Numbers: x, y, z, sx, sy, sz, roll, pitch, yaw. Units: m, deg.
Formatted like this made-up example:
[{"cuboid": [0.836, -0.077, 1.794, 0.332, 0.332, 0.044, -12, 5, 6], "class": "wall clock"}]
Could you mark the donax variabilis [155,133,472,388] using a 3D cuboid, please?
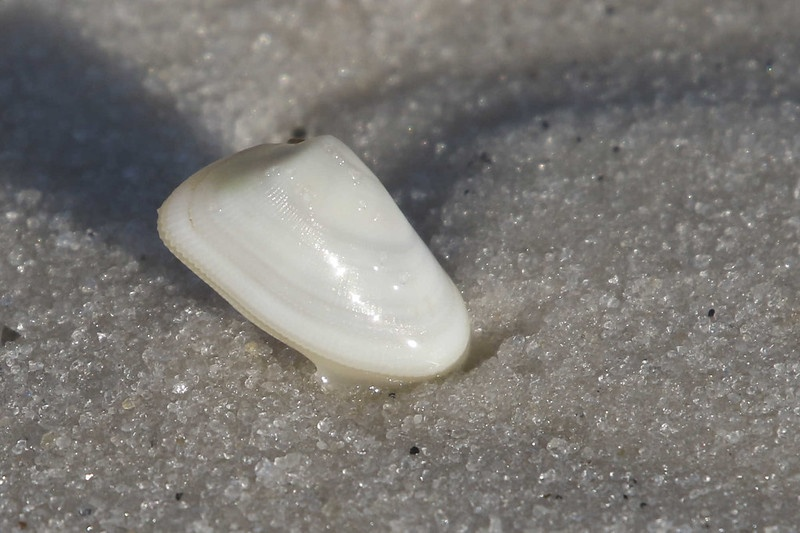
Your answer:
[{"cuboid": [-0.060, 0.007, 0.774, 0.197, 0.067, 0.223, -18, 69, -30], "class": "donax variabilis"}]
